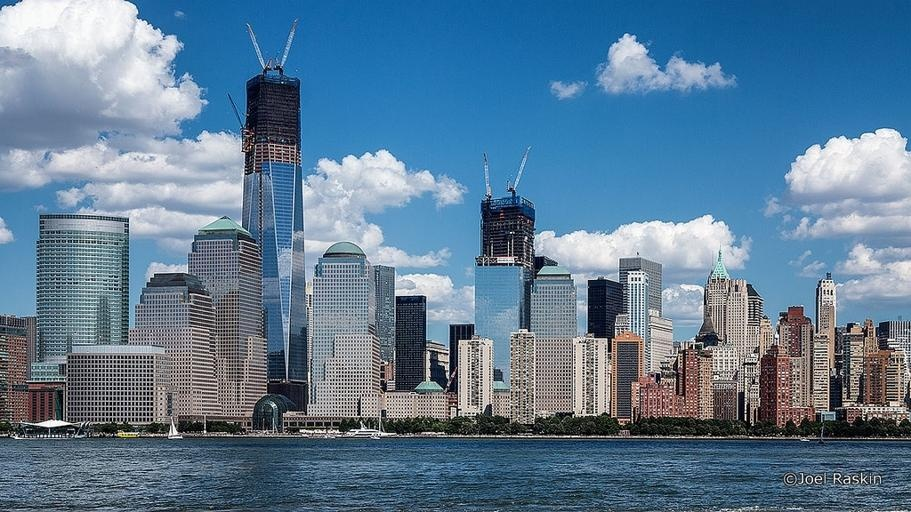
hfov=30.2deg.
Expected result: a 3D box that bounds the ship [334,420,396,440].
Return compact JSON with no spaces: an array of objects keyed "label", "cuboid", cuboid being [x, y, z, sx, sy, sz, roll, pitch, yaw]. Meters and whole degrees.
[{"label":"ship","cuboid":[-48.563,89.780,875.467,31.403,8.606,11.204,-3,-8,14]}]
